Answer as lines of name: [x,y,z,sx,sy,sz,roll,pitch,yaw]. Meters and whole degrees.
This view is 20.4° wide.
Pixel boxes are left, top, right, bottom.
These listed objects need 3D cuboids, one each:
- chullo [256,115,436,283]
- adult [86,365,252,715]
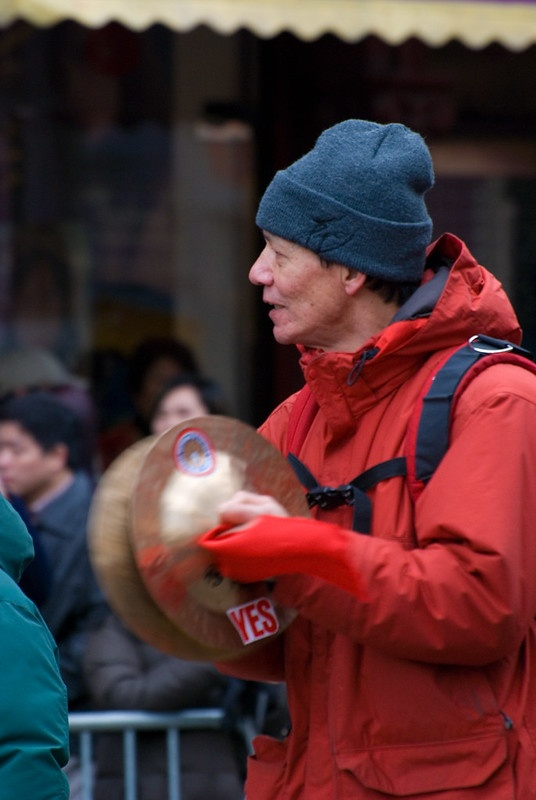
chullo: [0.159,-0.455,3.253,0.431,0.300,0.273,6,28,-10]
adult: [-0.309,0.501,5.448,0.261,0.912,1.058,-8,-4,25]
